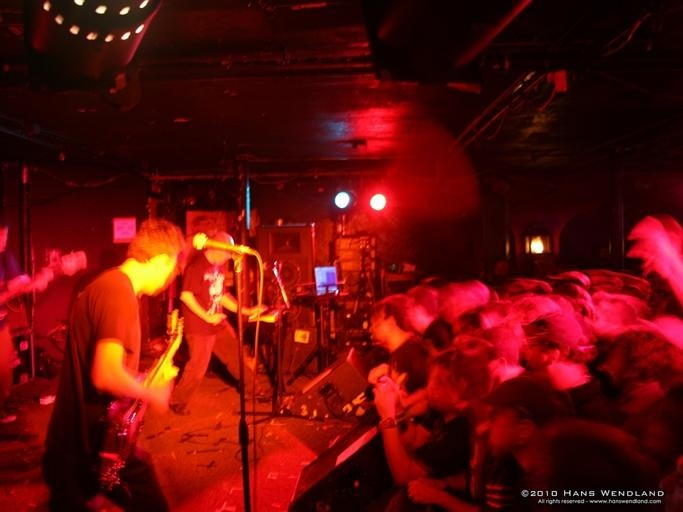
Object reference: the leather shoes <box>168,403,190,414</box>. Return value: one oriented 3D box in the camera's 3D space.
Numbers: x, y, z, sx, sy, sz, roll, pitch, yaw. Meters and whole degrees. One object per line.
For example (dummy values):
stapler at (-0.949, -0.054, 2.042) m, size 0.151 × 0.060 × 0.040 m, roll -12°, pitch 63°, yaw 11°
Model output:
leather shoes at (-1.715, 1.622, 5.906) m, size 0.126 × 0.027 × 0.081 m, roll 10°, pitch 11°, yaw 32°

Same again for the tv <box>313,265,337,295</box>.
tv at (-0.222, 0.311, 7.683) m, size 0.391 × 0.379 × 0.309 m, roll 6°, pitch -13°, yaw -43°
